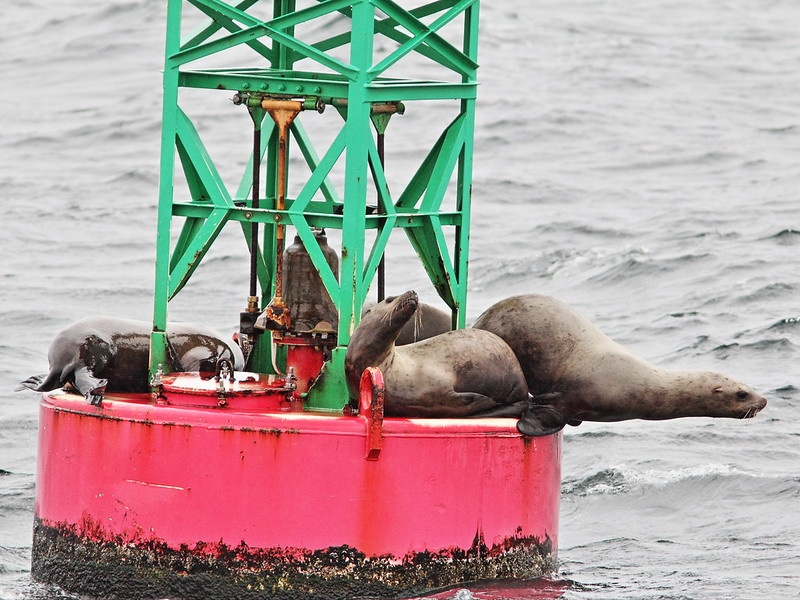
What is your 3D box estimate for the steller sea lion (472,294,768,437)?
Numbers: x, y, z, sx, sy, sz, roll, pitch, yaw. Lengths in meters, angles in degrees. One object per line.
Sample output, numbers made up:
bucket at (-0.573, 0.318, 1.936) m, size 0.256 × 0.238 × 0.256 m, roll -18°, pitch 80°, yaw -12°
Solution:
steller sea lion at (2.632, 0.833, 26.982) m, size 3.476 × 1.091 × 1.510 m, roll 6°, pitch 14°, yaw 11°
